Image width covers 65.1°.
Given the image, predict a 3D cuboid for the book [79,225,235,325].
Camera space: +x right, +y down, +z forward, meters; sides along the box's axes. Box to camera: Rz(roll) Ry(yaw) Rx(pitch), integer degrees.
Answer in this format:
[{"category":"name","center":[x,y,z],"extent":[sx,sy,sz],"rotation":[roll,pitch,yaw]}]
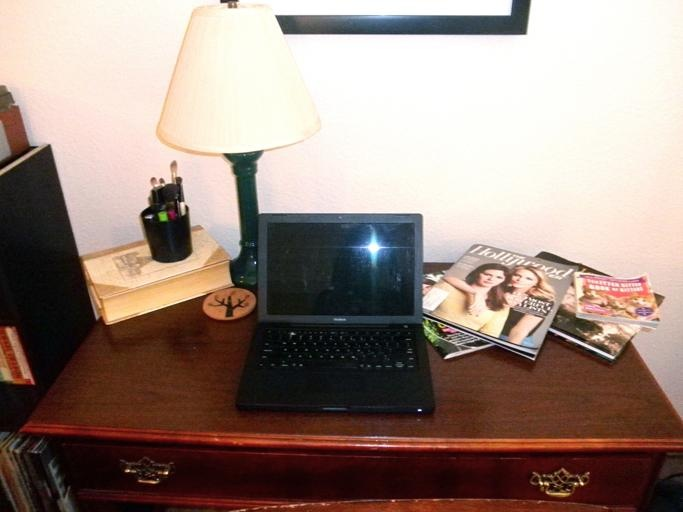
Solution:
[{"category":"book","center":[-0.466,0.048,1.403],"extent":[0.332,0.079,0.221],"rotation":[-13,28,-23]}]

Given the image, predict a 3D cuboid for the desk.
[{"category":"desk","center":[0.001,0.416,1.174],"extent":[1.312,0.548,0.376],"rotation":[1,59,0]}]

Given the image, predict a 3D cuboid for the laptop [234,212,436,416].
[{"category":"laptop","center":[0.004,0.173,1.297],"extent":[0.555,0.274,0.434],"rotation":[1,42,2]}]
